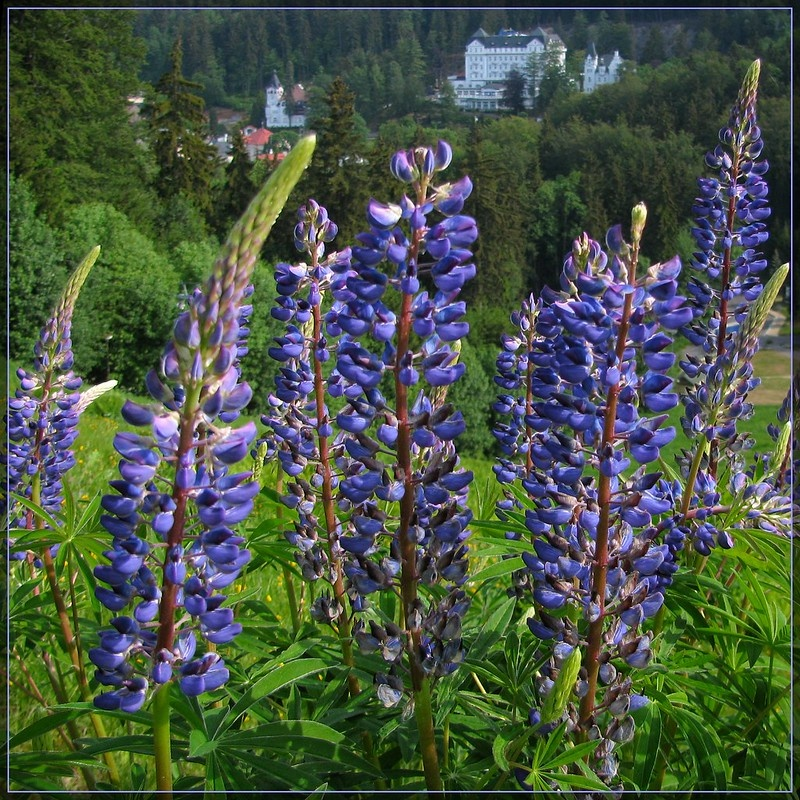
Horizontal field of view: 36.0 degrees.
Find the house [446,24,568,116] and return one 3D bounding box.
[{"bbox_3d":[1.977,-5.784,22.269,1.535,1.169,1.723,-4,24,-10],"label":"house"}]
